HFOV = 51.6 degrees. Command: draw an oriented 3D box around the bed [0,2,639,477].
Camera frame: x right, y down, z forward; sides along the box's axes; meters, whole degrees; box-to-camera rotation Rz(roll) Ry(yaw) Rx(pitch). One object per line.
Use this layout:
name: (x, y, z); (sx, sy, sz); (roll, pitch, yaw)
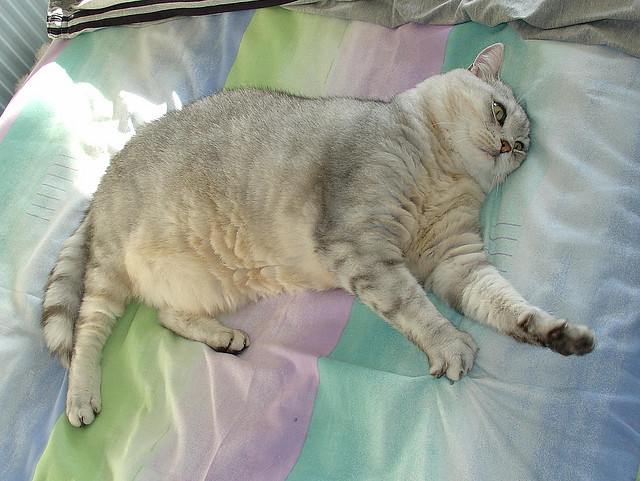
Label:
bed: (0.014, -0.163, 2.699); (2.640, 0.359, 2.317); (-7, 66, 5)
